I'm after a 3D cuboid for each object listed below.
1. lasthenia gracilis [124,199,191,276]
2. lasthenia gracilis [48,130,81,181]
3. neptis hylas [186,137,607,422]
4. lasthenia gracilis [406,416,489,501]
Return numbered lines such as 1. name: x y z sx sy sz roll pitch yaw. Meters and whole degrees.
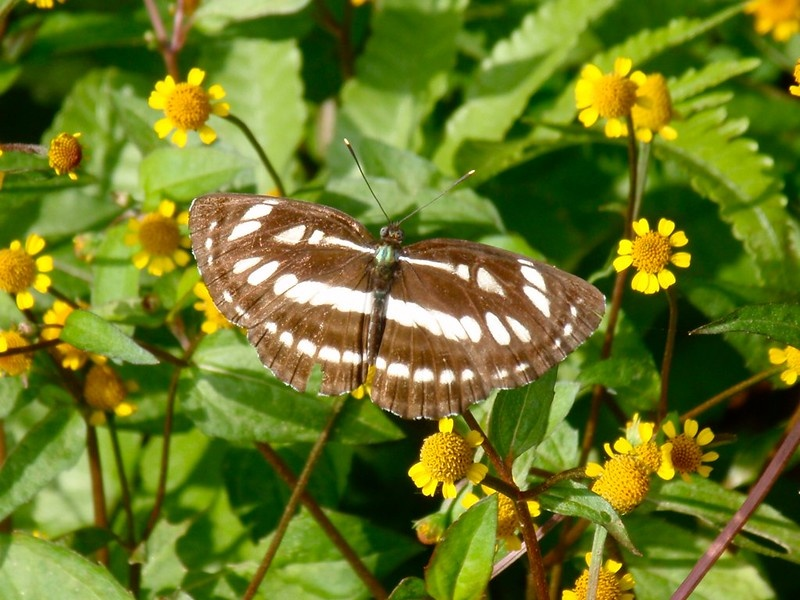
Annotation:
1. lasthenia gracilis: -0.544 -0.142 1.906 0.146 0.170 0.070 10 6 -23
2. lasthenia gracilis: -0.700 -0.300 1.758 0.083 0.099 0.030 10 4 -13
3. neptis hylas: 0.017 -0.169 2.195 1.069 0.565 0.896 0 13 0
4. lasthenia gracilis: 0.099 0.313 1.606 0.144 0.117 0.064 15 7 17
